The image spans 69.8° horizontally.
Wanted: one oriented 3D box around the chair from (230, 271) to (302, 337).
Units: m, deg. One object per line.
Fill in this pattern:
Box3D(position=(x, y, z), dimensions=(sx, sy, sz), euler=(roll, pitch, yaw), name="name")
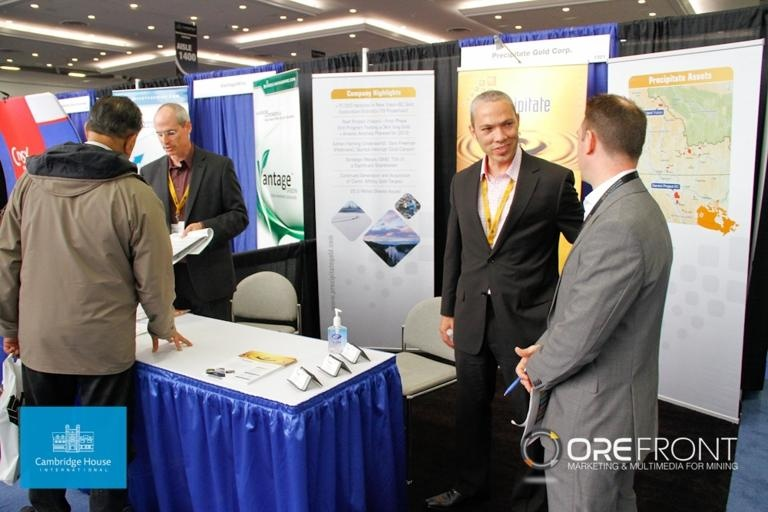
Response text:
Box3D(position=(-0.850, 0.335, 4.298), dimensions=(0.431, 0.778, 0.493), euler=(1, 4, 7), name="chair")
